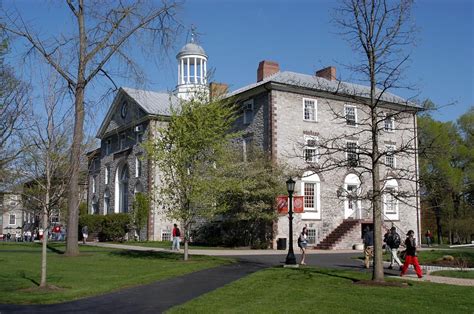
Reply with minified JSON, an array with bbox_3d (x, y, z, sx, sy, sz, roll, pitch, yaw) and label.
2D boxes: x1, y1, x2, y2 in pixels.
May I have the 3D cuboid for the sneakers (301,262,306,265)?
[{"bbox_3d":[4.031,6.463,31.311,0.122,0.154,0.362,-1,0,41],"label":"sneakers"}]

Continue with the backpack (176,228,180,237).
[{"bbox_3d":[-4.473,5.666,38.669,0.200,0.554,0.260,1,-13,-4],"label":"backpack"}]

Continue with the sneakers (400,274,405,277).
[{"bbox_3d":[8.881,6.372,27.691,0.196,0.125,0.371,-4,-15,17],"label":"sneakers"}]

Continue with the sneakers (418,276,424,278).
[{"bbox_3d":[9.715,6.359,27.211,0.155,0.123,0.470,-12,-18,39],"label":"sneakers"}]

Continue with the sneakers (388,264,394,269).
[{"bbox_3d":[9.101,6.523,30.445,0.257,0.287,0.285,0,-3,-4],"label":"sneakers"}]
